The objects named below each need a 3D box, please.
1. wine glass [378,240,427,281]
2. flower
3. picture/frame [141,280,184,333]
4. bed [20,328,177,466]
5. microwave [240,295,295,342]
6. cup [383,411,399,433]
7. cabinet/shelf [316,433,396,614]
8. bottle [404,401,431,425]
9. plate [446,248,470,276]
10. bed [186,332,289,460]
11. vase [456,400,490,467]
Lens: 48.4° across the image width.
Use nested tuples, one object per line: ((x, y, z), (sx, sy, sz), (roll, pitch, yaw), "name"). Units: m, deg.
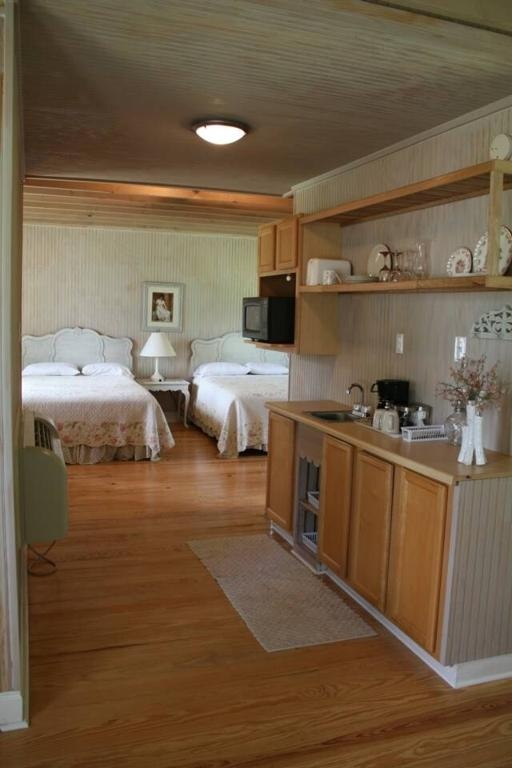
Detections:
((0.700, -0.589, 2.762), (0.100, 0.134, 0.331), (0, 11, -6), "wine glass")
((0.869, -0.012, 2.302), (0.210, 0.197, 0.231), (2, -3, -8), "flower")
((-1.265, -1.044, 7.516), (0.715, 0.868, 0.059), (-2, 11, -25), "picture/frame")
((-1.788, 0.082, 6.148), (1.354, 1.153, 1.840), (-2, 7, -22), "bed")
((0.072, -0.462, 4.114), (0.209, 0.347, 0.708), (0, 5, -25), "microwave")
((0.627, 0.182, 2.662), (0.070, 0.104, 0.103), (3, 10, 11), "cup")
((0.460, 0.634, 2.587), (0.285, 0.692, 0.733), (-1, 9, -15), "cabinet/shelf")
((0.773, 0.132, 2.718), (0.099, 0.074, 0.100), (2, 14, -1), "bottle")
((0.881, -0.527, 2.480), (0.020, 0.120, 0.118), (8, -11, -21), "plate")
((-0.123, 0.051, 6.753), (1.102, 0.988, 1.589), (-1, 7, -16), "bed")
((0.810, 0.181, 2.131), (0.096, 0.222, 0.208), (4, 5, 20), "vase")
